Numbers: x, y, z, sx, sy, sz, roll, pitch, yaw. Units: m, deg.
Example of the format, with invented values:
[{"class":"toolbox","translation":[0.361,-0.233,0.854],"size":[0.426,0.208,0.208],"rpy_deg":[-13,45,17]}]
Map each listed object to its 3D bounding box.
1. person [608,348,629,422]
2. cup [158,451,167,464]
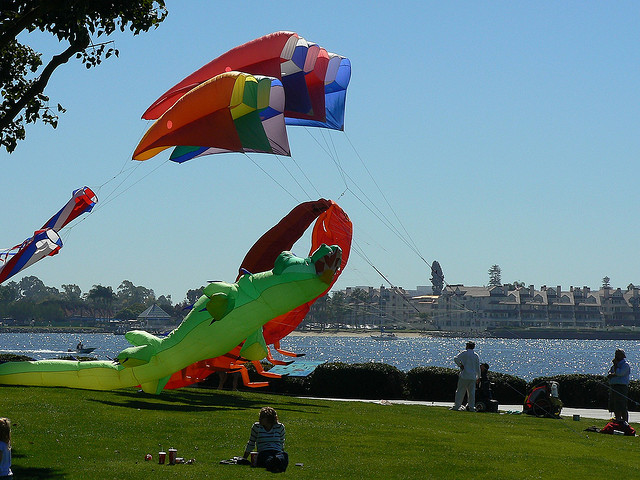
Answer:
[{"class":"person","translation":[8.489,4.159,28.224],"size":[0.575,1.985,0.978],"rpy_deg":[3,-6,17]},{"class":"cup","translation":[-3.641,5.031,22.863],"size":[0.235,0.265,0.235],"rpy_deg":[1,-2,0]}]
